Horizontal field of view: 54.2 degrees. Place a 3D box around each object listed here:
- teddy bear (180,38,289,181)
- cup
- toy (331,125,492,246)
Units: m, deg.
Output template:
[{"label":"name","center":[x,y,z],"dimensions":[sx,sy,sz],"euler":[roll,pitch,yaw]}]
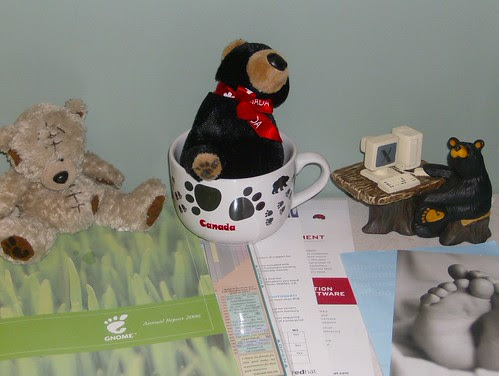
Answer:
[{"label":"teddy bear","center":[-0.027,-0.132,0.802],"dimensions":[0.188,0.233,0.123],"euler":[-4,-4,-8]},{"label":"cup","center":[-0.010,-0.008,0.917],"dimensions":[0.267,0.159,0.196],"euler":[-5,31,-6]},{"label":"toy","center":[0.304,-0.012,0.975],"dimensions":[0.307,0.213,0.230],"euler":[-16,30,-20]}]
